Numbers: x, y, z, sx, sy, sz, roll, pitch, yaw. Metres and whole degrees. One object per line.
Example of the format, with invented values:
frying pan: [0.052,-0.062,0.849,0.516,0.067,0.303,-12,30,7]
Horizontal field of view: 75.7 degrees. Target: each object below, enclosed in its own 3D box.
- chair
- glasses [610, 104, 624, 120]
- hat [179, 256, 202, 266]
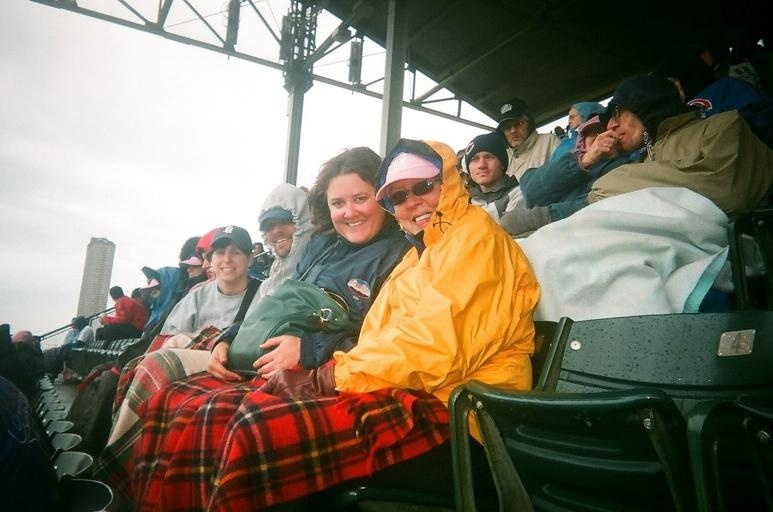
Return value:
chair: [0.184,0.477,2.286,2.110,0.847,1.562,-10,-8,38]
glasses: [1.334,-0.840,2.906,0.074,0.057,0.065,7,28,24]
hat: [-2.029,0.060,5.201,0.108,0.055,0.162,0,-7,30]
